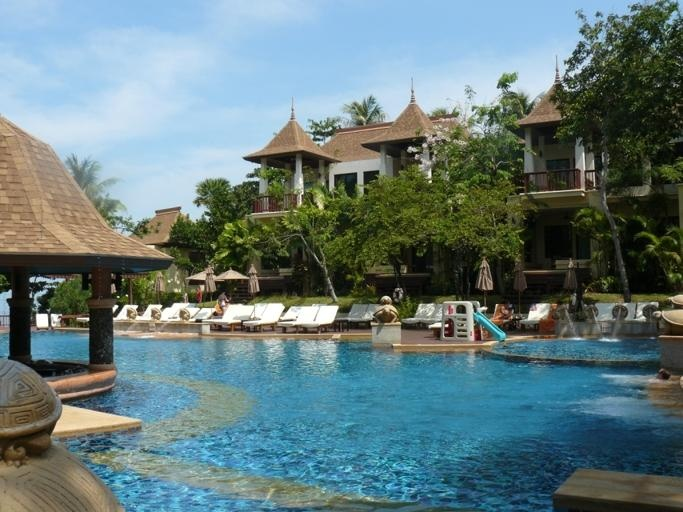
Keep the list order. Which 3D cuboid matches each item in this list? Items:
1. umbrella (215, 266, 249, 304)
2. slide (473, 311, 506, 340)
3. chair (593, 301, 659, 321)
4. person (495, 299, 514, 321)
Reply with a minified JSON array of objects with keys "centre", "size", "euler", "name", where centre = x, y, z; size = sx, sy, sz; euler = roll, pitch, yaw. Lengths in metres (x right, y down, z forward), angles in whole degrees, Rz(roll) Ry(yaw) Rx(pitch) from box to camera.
[{"centre":[-5.926,1.587,35.396],"size":[2.259,1.573,2.059],"euler":[-1,4,-17],"name":"umbrella"},{"centre":[4.595,2.118,19.553],"size":[0.849,0.792,1.028],"euler":[-3,-1,45],"name":"slide"},{"centre":[9.242,1.795,20.910],"size":[1.831,0.555,0.719],"euler":[-2,-1,18],"name":"chair"},{"centre":[6.231,2.114,24.438],"size":[0.695,0.603,1.035],"euler":[-4,-4,40],"name":"person"}]
